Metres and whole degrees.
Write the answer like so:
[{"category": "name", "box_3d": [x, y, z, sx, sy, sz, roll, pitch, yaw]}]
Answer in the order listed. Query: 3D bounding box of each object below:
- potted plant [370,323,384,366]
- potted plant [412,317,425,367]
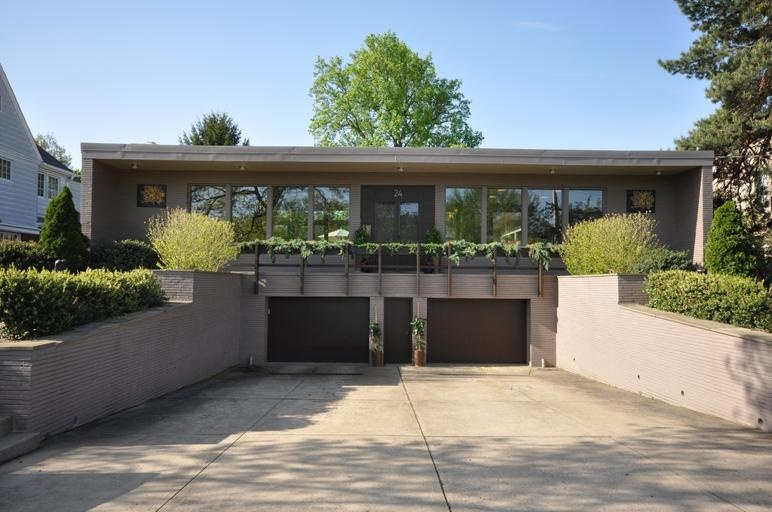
[{"category": "potted plant", "box_3d": [-0.320, 3.002, 18.856, 0.377, 1.428, 0.441, 0, 4, -7]}, {"category": "potted plant", "box_3d": [1.045, 2.936, 18.915, 0.408, 1.577, 0.516, 1, 4, 3]}]
